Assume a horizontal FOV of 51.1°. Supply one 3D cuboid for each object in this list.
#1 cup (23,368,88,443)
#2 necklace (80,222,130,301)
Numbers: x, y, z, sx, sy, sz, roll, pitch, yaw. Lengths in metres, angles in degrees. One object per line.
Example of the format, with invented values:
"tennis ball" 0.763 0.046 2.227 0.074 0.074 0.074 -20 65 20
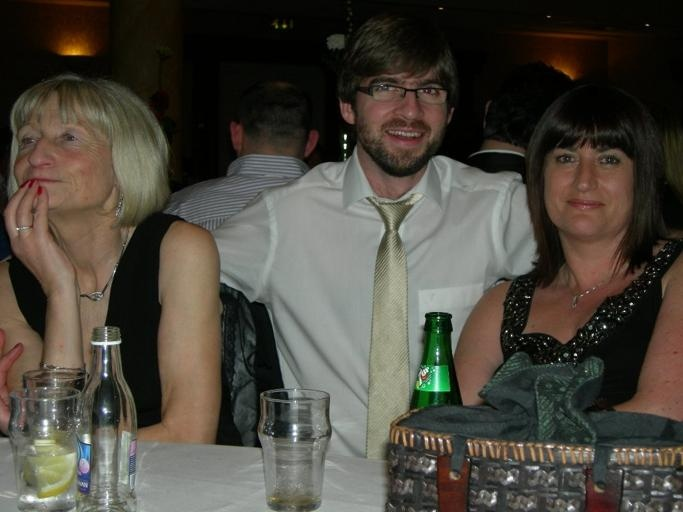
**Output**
"cup" -0.608 0.323 1.522 0.106 0.082 0.109 2 -7 0
"necklace" -0.747 0.027 2.309 0.171 0.182 0.047 4 14 1
